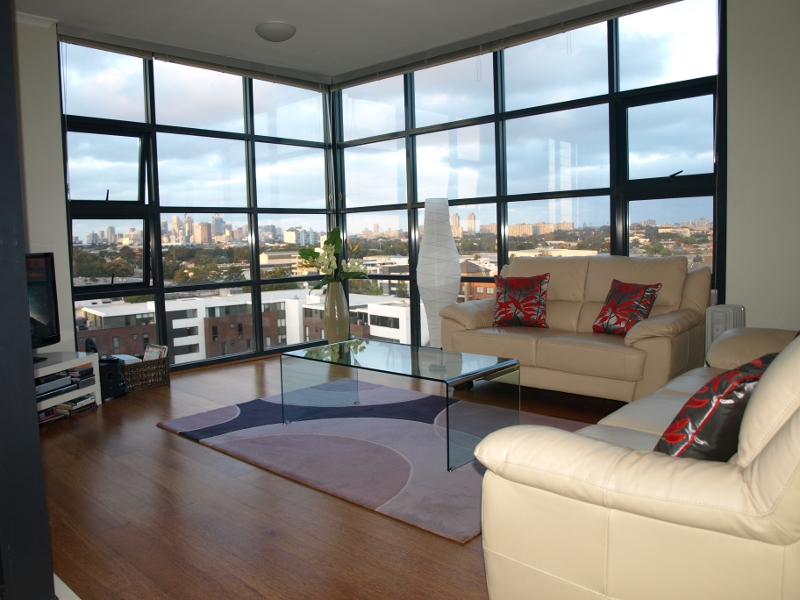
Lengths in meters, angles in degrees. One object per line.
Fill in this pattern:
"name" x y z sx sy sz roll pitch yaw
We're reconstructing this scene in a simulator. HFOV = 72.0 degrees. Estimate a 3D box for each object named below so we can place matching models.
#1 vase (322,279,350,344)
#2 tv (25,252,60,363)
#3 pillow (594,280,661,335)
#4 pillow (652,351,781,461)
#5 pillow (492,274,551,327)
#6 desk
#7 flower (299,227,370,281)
"vase" -0.695 0.131 5.878 0.266 0.670 0.265 -3 10 -6
"tv" -2.858 0.009 4.379 0.641 0.743 0.078 -2 4 38
"pillow" 1.763 0.056 4.309 0.136 0.415 0.440 27 -6 -21
"pillow" 1.222 0.452 2.030 0.622 0.422 0.318 18 -9 -43
"pillow" 1.086 0.018 4.832 0.461 0.442 0.164 -1 -18 20
"desk" -2.671 0.673 4.337 0.323 0.509 0.629 -2 10 3
"flower" -0.772 -0.445 6.016 0.716 0.391 0.735 8 7 42
